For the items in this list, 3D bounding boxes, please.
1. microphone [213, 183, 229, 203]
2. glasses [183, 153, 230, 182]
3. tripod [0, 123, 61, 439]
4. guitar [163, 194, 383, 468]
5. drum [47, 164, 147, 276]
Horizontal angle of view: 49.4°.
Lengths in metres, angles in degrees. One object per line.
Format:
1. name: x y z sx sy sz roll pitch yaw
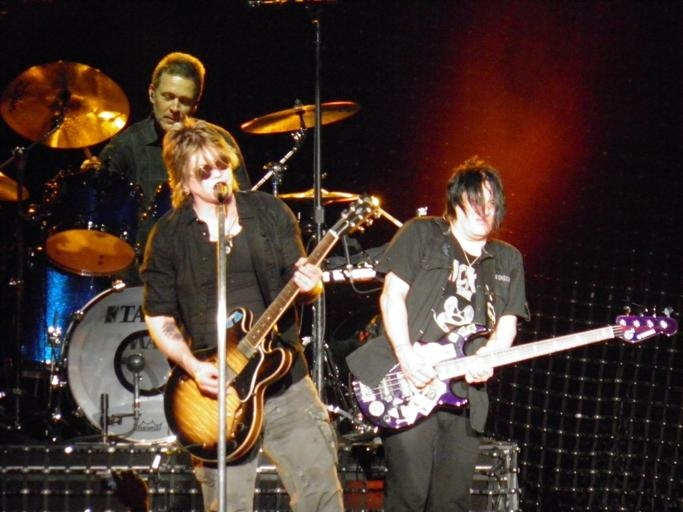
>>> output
1. microphone: -0.672 -0.351 4.139 0.078 0.112 0.051 -8 3 3
2. glasses: -0.826 -0.558 4.529 0.193 0.078 0.200 -3 -36 -14
3. tripod: -2.807 0.156 6.380 0.437 2.601 1.161 8 -19 -22
4. guitar: -0.505 0.433 4.531 1.175 1.614 0.352 -6 -18 20
5. drum: -1.869 -0.210 5.795 0.750 0.700 0.721 20 -39 -30
